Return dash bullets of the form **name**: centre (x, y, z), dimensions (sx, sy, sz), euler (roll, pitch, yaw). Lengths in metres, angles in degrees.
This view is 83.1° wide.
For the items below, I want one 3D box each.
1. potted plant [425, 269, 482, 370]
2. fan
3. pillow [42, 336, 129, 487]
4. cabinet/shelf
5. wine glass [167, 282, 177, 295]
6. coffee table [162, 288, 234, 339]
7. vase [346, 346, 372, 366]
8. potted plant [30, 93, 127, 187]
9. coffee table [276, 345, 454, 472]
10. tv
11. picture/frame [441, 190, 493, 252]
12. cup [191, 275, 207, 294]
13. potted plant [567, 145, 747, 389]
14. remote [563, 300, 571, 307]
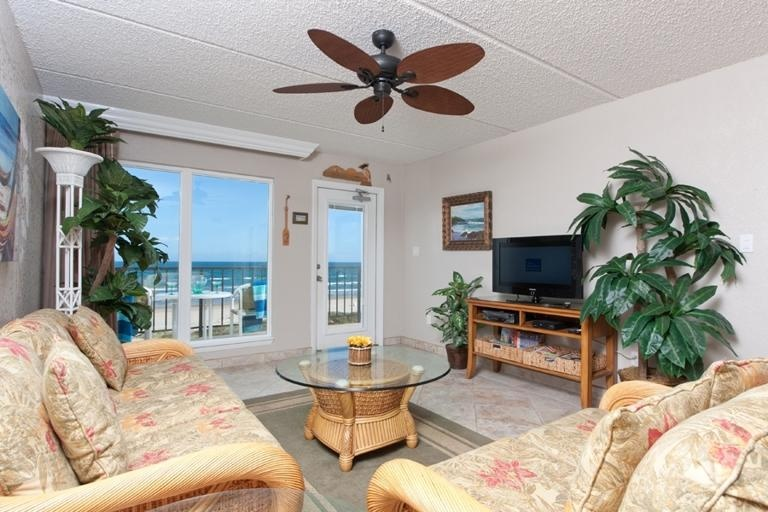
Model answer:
- **potted plant**: centre (0.835, 0.771, 5.000), dimensions (0.635, 1.059, 0.685), euler (9, 8, 37)
- **fan**: centre (0.128, -1.173, 2.885), dimensions (0.890, 0.237, 0.862), euler (-1, -4, 26)
- **pillow**: centre (-1.406, 0.726, 2.037), dimensions (0.302, 0.465, 0.619), euler (-4, 6, -30)
- **cabinet/shelf**: centre (1.507, 0.875, 4.314), dimensions (0.566, 0.826, 1.407), euler (1, 0, -36)
- **wine glass**: centre (-2.340, 0.350, 4.825), dimensions (0.108, 0.150, 0.035), euler (-3, 10, -23)
- **coffee table**: centre (-2.088, 0.642, 4.960), dimensions (0.592, 0.371, 0.548), euler (1, -4, -6)
- **vase**: centre (-0.187, 0.745, 3.312), dimensions (0.166, 0.100, 0.153), euler (0, -7, -2)
- **potted plant**: centre (-2.535, -0.919, 3.658), dimensions (0.523, 0.659, 0.751), euler (-5, 9, -30)
- **coffee table**: centre (-0.210, 0.959, 3.318), dimensions (0.987, 0.387, 0.928), euler (0, -1, -26)
- **tv**: centre (1.550, 0.133, 4.318), dimensions (0.115, 0.506, 0.803), euler (6, -7, -40)
- **picture/frame**: centre (1.004, -0.420, 5.274), dimensions (0.077, 0.683, 0.803), euler (-6, 5, -35)
- **cup**: centre (-2.100, 0.307, 4.951), dimensions (0.195, 0.214, 0.189), euler (1, -8, 0)
- **potted plant**: centre (2.275, 0.150, 3.794), dimensions (1.272, 1.971, 1.358), euler (-16, 21, -17)
- **remote**: centre (1.715, 0.439, 4.082), dimensions (0.072, 0.044, 0.068), euler (2, -1, 14)
